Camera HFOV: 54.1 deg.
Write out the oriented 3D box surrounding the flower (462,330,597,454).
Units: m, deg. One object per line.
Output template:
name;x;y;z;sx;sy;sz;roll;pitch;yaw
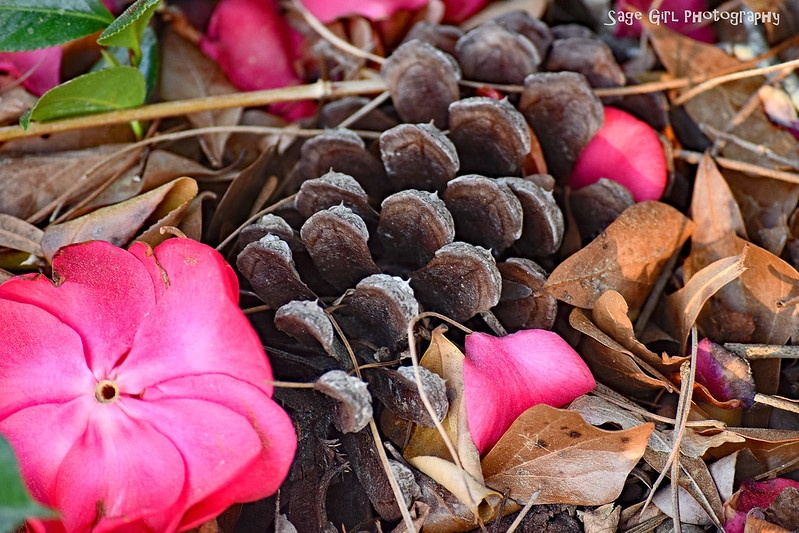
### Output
flower;0.172;0.177;1.053;0.196;0.075;0.152;-22;80;-9
